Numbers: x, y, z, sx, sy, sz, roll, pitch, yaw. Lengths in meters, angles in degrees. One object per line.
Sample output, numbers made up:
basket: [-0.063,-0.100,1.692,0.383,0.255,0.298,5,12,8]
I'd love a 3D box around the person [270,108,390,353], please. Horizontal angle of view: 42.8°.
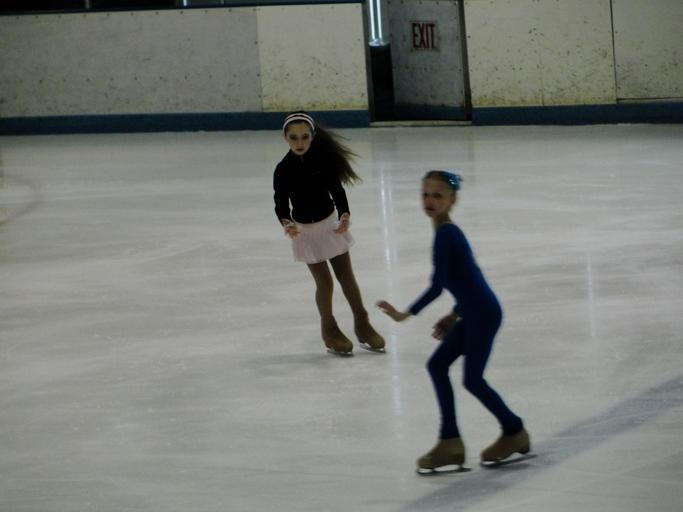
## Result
person: [-0.072,-0.107,4.378,0.504,1.209,0.762,-3,26,-7]

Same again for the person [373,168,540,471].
person: [0.446,0.345,3.109,0.510,0.842,0.438,13,29,25]

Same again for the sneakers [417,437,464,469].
sneakers: [0.376,0.718,3.166,0.215,0.124,0.111,-12,-17,30]
